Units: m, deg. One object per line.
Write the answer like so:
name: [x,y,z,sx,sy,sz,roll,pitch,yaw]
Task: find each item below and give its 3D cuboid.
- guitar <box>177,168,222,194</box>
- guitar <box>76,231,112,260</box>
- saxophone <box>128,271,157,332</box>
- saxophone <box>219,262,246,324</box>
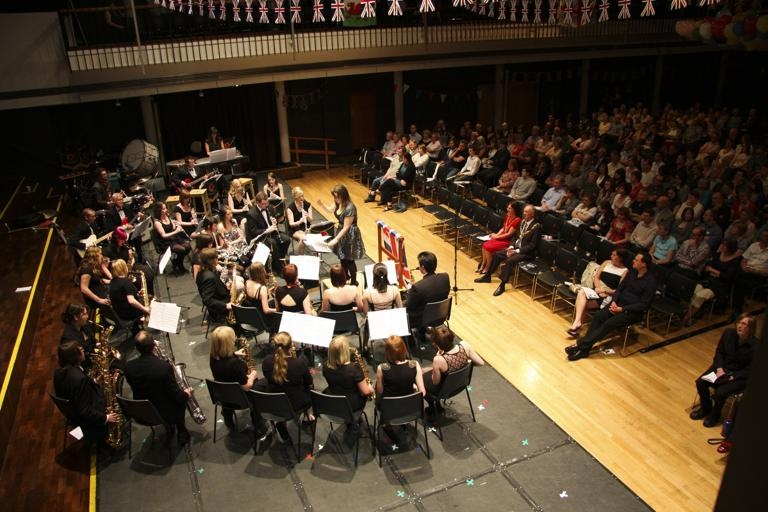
guitar: [-4.870,-1.931,14.043,1.342,0.540,0.199,-19,10,-33]
guitar: [-5.823,-0.179,10.639,0.586,0.226,0.085,-29,17,-29]
saxophone: [-4.402,0.844,9.626,0.506,1.125,0.292,9,55,-9]
saxophone: [-2.582,0.697,9.503,0.351,0.979,0.309,9,63,-9]
